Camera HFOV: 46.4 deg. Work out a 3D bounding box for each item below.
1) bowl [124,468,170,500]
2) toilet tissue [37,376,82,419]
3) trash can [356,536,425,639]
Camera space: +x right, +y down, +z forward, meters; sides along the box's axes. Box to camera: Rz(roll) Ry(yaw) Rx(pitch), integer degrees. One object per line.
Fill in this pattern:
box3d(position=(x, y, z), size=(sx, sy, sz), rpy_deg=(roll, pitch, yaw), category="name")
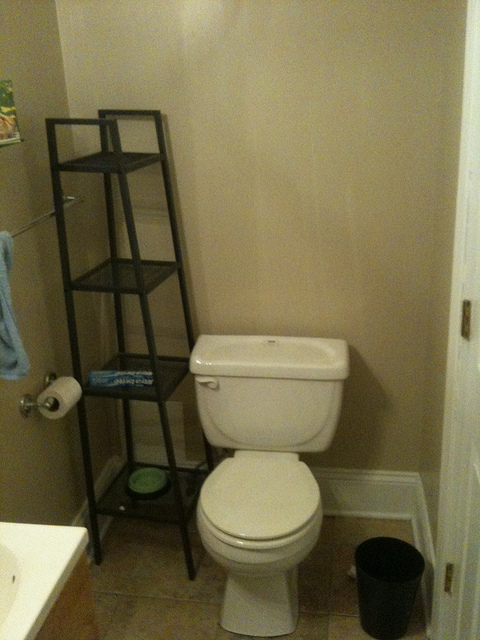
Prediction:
box3d(position=(-0.337, 0.594, 2.036), size=(0.159, 0.044, 0.158), rpy_deg=(-3, 24, 1), category="bowl")
box3d(position=(-0.525, 0.225, 1.638), size=(0.087, 0.091, 0.105), rpy_deg=(7, 19, 5), category="toilet tissue")
box3d(position=(0.430, 0.781, 1.614), size=(0.187, 0.198, 0.191), rpy_deg=(-19, 28, -41), category="trash can")
